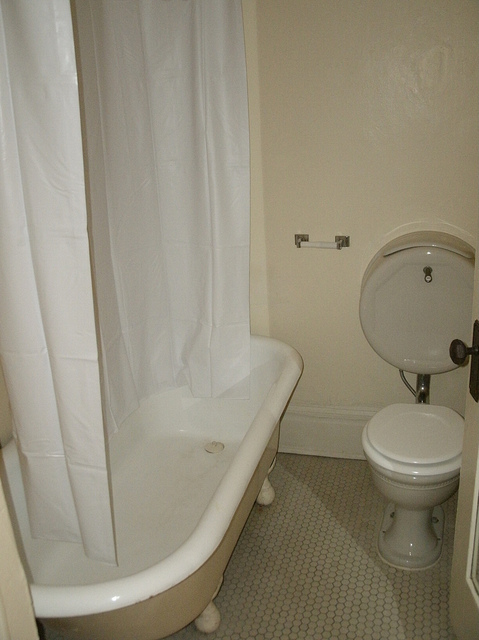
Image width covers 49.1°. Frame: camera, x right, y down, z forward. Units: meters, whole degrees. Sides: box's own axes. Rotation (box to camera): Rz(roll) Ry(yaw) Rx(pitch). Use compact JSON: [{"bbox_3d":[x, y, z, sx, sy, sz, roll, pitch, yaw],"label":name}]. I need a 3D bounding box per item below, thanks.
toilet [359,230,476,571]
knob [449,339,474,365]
[{"bbox_3d":[0.632,0.276,1.894,0.400,1.021,0.750,2,25,14],"label":"toilet"},{"bbox_3d":[0.466,0.074,1.104,0.041,0.073,0.056,4,26,19],"label":"knob"}]
